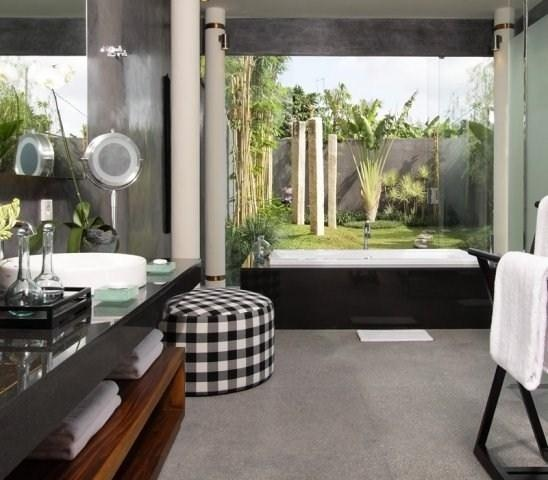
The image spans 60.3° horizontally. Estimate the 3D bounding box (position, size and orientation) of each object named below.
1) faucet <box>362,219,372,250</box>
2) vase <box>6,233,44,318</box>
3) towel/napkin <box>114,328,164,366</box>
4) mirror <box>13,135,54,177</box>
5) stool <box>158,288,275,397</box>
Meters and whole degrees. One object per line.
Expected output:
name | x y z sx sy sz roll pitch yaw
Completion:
faucet | 1.022 -0.070 5.180 0.083 0.303 0.217 1 5 11
vase | -0.654 0.071 1.226 0.083 0.204 0.252 -3 6 -30
towel/napkin | -0.511 0.392 1.730 0.124 0.047 0.105 -4 6 15
mirror | -1.013 -0.356 1.972 0.136 0.164 0.047 19 -6 -15
stool | -0.257 0.521 2.683 0.488 0.399 0.550 0 1 0
